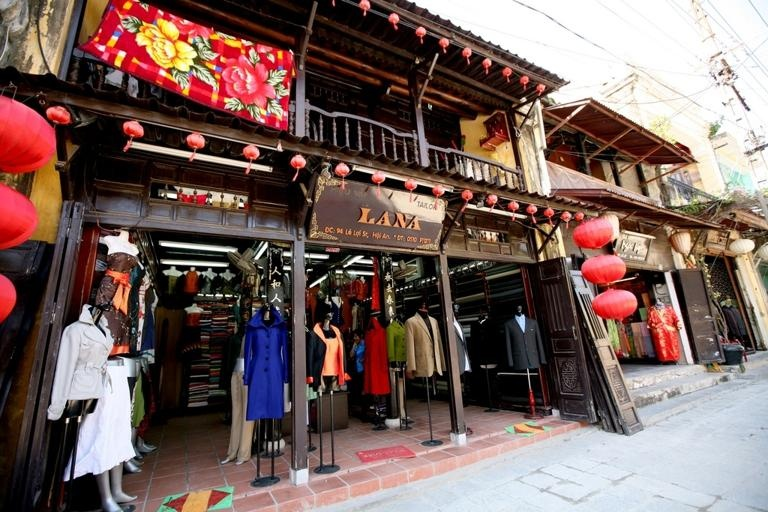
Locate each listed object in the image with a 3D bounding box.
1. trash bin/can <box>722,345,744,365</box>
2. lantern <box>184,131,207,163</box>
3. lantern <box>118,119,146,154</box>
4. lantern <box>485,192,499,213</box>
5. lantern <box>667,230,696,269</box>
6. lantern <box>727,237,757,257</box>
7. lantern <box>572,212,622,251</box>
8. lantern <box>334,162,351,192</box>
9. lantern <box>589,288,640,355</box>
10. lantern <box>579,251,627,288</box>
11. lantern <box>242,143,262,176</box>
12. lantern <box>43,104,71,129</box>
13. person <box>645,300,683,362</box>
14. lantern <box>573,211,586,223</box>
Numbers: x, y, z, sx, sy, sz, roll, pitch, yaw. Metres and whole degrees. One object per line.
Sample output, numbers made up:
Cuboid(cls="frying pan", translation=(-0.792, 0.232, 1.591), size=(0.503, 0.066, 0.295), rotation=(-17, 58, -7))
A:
Cuboid(cls="trash bin/can", translation=(9.096, 2.575, 10.970), size=(0.702, 0.486, 0.485), rotation=(5, -12, -19))
Cuboid(cls="lantern", translation=(-2.587, -1.473, 5.782), size=(0.190, 0.347, 0.649), rotation=(5, -18, -26))
Cuboid(cls="lantern", translation=(-3.344, -1.617, 5.595), size=(0.259, 0.348, 0.233), rotation=(23, 12, 4))
Cuboid(cls="lantern", translation=(1.920, -0.984, 7.559), size=(0.224, 0.261, 0.267), rotation=(-21, 38, -27))
Cuboid(cls="lantern", translation=(8.417, -0.213, 11.850), size=(0.535, 1.009, 1.065), rotation=(-16, -20, 35))
Cuboid(cls="lantern", translation=(10.727, -0.299, 12.624), size=(0.847, 0.684, 0.908), rotation=(-2, -3, 34))
Cuboid(cls="lantern", translation=(3.933, -0.413, 7.761), size=(0.717, 0.574, 0.844), rotation=(-6, -5, 44))
Cuboid(cls="lantern", translation=(-0.626, -1.232, 6.502), size=(0.239, 0.367, 0.615), rotation=(-2, -16, -5))
Cuboid(cls="lantern", translation=(4.063, 0.961, 7.385), size=(0.717, 0.744, 0.738), rotation=(0, -13, -14))
Cuboid(cls="lantern", translation=(3.795, 0.250, 7.484), size=(0.561, 0.381, 0.607), rotation=(2, -10, -3))
Cuboid(cls="lantern", translation=(-1.913, -1.346, 6.094), size=(0.241, 0.368, 0.698), rotation=(2, -17, -18))
Cuboid(cls="lantern", translation=(-3.901, -1.709, 5.074), size=(0.247, 0.129, 0.306), rotation=(-2, -7, -29))
Cuboid(cls="person", translation=(7.509, 2.001, 11.249), size=(0.715, 1.686, 0.408), rotation=(-17, -21, 39))
Cuboid(cls="lantern", translation=(3.831, -0.766, 8.274), size=(0.225, 0.266, 0.119), rotation=(-6, -55, 10))
